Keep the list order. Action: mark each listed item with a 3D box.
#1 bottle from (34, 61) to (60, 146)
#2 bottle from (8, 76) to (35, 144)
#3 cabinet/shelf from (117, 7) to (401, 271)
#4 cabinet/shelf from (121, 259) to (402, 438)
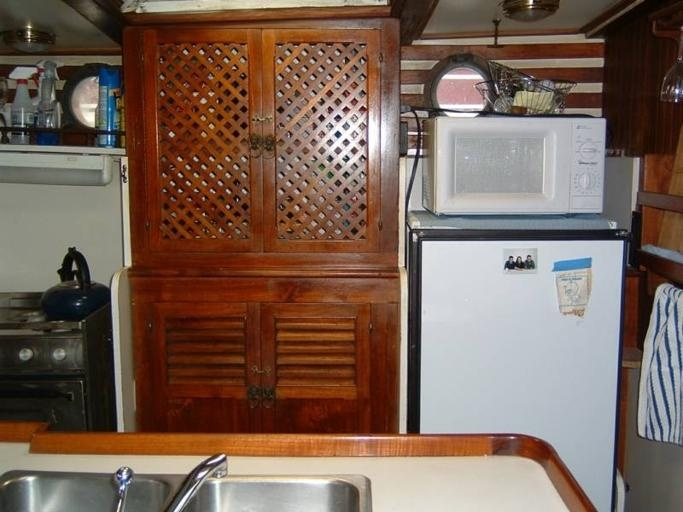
[{"bbox_3d":[-1.441,-0.749,3.076,0.118,0.422,0.316,-2,4,-25],"label":"bottle"},{"bbox_3d":[-1.570,-0.711,3.081,0.114,0.336,0.313,-2,4,-26],"label":"bottle"},{"bbox_3d":[-0.326,-0.530,2.717,1.081,0.983,0.429,0,6,1],"label":"cabinet/shelf"},{"bbox_3d":[-0.336,0.617,2.986,1.182,1.061,0.432,0,2,4],"label":"cabinet/shelf"}]
